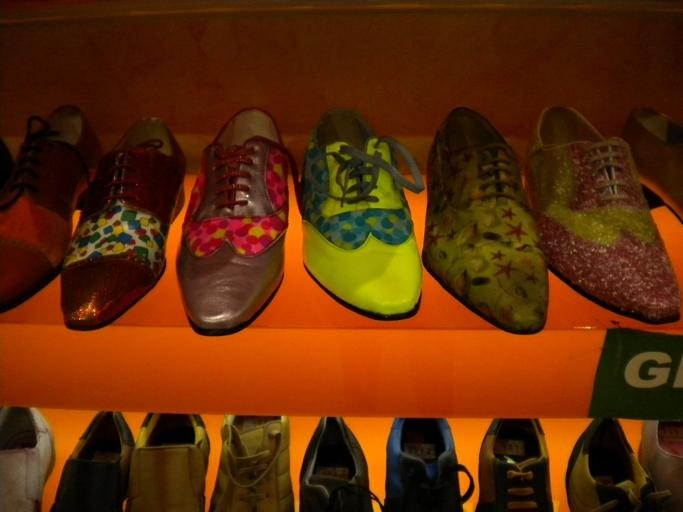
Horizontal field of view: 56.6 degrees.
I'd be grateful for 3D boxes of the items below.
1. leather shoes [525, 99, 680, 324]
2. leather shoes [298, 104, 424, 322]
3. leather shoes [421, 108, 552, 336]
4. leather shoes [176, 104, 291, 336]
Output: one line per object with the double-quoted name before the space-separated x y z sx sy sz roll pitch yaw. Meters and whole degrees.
"leather shoes" 0.492 -0.089 1.282 0.183 0.450 0.149 -13 -39 -2
"leather shoes" 0.028 -0.082 1.301 0.195 0.428 0.163 -9 -36 -10
"leather shoes" 0.277 -0.090 1.271 0.234 0.525 0.114 -5 -23 18
"leather shoes" -0.201 -0.087 1.283 0.162 0.462 0.164 2 -39 -3
